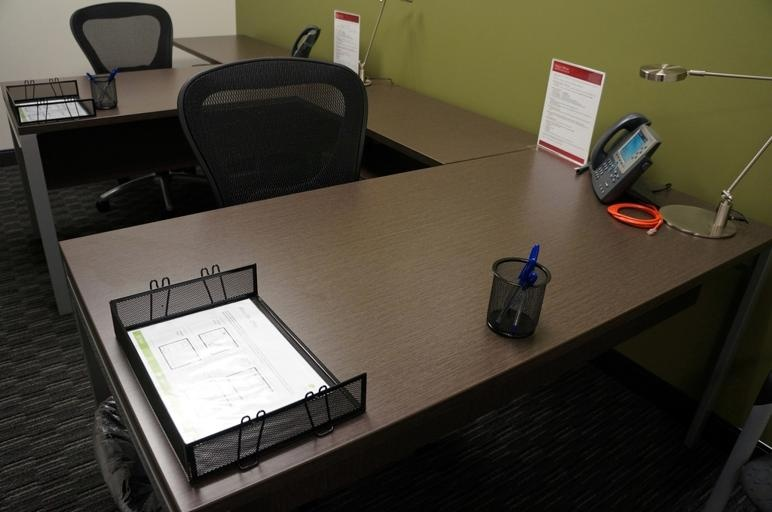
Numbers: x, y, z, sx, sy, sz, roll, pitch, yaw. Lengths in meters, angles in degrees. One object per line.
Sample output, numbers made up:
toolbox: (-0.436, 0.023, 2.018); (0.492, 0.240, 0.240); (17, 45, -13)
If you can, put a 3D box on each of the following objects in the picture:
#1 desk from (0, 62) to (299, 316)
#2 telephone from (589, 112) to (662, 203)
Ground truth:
desk: (-1.306, -0.516, 3.201); (1.348, 1.240, 1.318); (-16, 42, -21)
telephone: (0.852, -0.364, 1.900); (0.220, 0.224, 0.357); (-7, 28, 17)
